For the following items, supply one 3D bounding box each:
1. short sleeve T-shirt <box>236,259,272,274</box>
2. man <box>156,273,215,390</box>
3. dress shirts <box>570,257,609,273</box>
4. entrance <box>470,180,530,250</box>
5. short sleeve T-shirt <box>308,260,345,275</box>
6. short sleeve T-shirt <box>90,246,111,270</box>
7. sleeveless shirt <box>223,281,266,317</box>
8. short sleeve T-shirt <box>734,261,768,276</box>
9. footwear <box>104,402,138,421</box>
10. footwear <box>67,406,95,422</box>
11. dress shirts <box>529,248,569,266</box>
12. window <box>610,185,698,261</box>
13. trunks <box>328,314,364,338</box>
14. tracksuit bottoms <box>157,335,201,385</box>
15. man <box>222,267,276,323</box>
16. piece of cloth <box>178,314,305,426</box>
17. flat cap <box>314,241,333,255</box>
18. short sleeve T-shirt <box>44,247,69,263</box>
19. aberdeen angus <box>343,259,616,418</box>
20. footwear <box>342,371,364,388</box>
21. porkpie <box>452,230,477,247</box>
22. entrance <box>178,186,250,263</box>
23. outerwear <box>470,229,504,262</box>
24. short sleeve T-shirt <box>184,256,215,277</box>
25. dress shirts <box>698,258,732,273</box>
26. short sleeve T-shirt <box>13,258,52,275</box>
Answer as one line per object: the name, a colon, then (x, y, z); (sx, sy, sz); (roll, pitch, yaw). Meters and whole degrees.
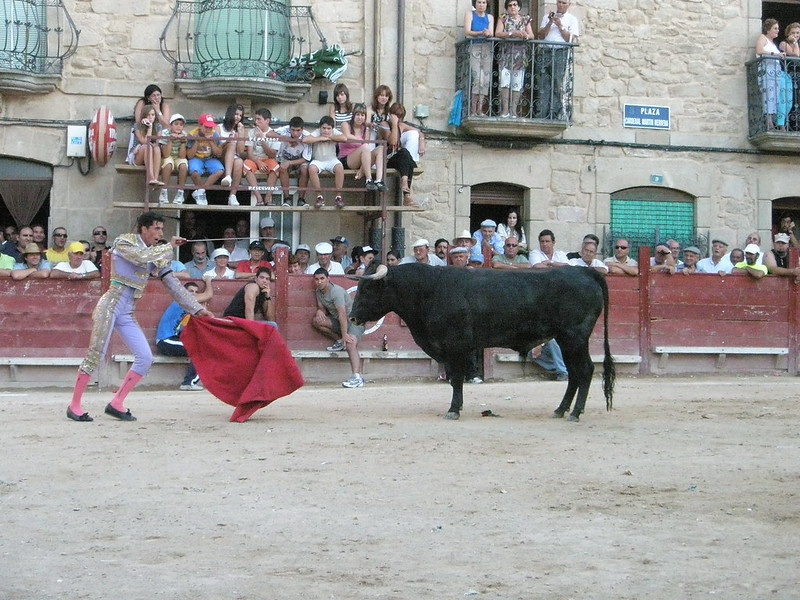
short sleeve T-shirt: (-1.993, -0.432, 22.797); (0.400, 0.205, 0.126); (-4, -41, -2)
man: (-2.829, 0.487, 22.330); (0.839, 1.409, 0.654); (-3, -13, -19)
dress shirts: (2.618, -0.475, 23.235); (0.332, 0.144, 0.423); (5, -2, -44)
entrance: (1.493, -1.240, 24.764); (1.154, 1.264, 0.100); (0, -3, -9)
short sleeve T-shirt: (-0.993, -0.364, 23.087); (0.427, 0.298, 0.207); (-1, -12, -10)
short sleeve T-shirt: (-4.022, -0.537, 22.828); (0.296, 0.378, 0.150); (-4, -7, 3)
sleeveless shirt: (-2.006, 0.008, 22.253); (0.577, 0.463, 0.362); (1, 1, -5)
short sleeve T-shirt: (4.933, -0.421, 23.684); (0.451, 0.143, 0.486); (2, 1, 10)
footwear: (-3.139, 1.282, 19.011); (0.414, 0.158, 0.148); (23, 5, -13)
footwear: (-3.552, 1.284, 18.926); (0.287, 0.108, 0.139); (4, 4, 3)
dress shirts: (2.032, -0.538, 23.057); (0.335, 0.155, 0.325); (-1, -9, 2)
window: (3.848, -1.190, 25.733); (1.340, 1.103, 0.111); (4, 6, 32)
trunks: (-0.662, 0.369, 22.318); (0.369, 0.325, 0.107); (1, 9, 8)
tracksuit bottoms: (-2.858, 0.839, 22.012); (0.652, 0.712, 0.639); (-5, -5, 12)
man: (-1.890, 0.024, 22.378); (0.697, 0.802, 0.571); (13, 4, 31)
piece of cloth: (-1.824, 0.775, 19.333); (1.418, 1.236, 0.406); (0, -4, 1)
flat cap: (-1.008, -0.681, 23.004); (0.220, 0.164, 0.376); (1, 1, -5)
short sleeve T-shirt: (-4.633, -0.573, 22.926); (0.351, 0.321, 0.179); (0, -8, -17)
aberdeen angus: (0.957, 0.487, 19.634); (3.283, 1.693, 0.890); (1, -1, -4)
footwear: (-0.645, 1.067, 22.102); (0.351, 0.164, 0.126); (-2, 5, -36)
porkpie: (0.914, -0.840, 23.757); (0.280, 0.115, 0.310); (1, -11, -1)
entrance: (-2.600, -1.057, 24.173); (1.373, 0.930, 1.280); (1, -7, -5)
outerwear: (1.213, -0.736, 23.701); (0.416, 0.476, 0.147); (-4, -15, 13)
short sleeve T-shirt: (-2.722, -0.411, 22.969); (0.467, 0.408, 0.247); (-1, -3, -15)
dress shirts: (4.452, -0.549, 23.840); (0.446, 0.316, 0.227); (1, -8, 4)
short sleeve T-shirt: (-4.853, -0.434, 22.429); (0.345, 0.135, 0.251); (-9, -6, 16)
